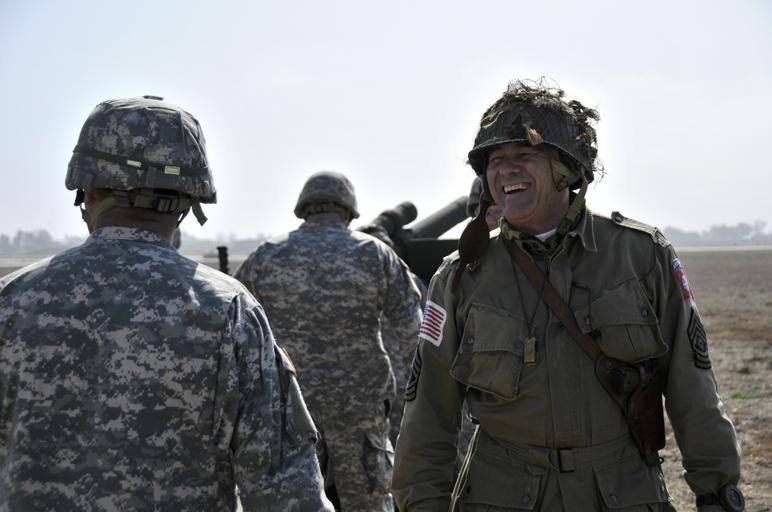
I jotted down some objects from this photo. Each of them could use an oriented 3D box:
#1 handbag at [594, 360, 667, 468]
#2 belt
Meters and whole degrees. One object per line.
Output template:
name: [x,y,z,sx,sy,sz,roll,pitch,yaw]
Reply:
handbag: [1.259,0.775,5.434,0.459,0.492,0.167,13,-3,-25]
belt: [0.955,1.003,5.430,0.650,0.164,0.109,2,0,2]
